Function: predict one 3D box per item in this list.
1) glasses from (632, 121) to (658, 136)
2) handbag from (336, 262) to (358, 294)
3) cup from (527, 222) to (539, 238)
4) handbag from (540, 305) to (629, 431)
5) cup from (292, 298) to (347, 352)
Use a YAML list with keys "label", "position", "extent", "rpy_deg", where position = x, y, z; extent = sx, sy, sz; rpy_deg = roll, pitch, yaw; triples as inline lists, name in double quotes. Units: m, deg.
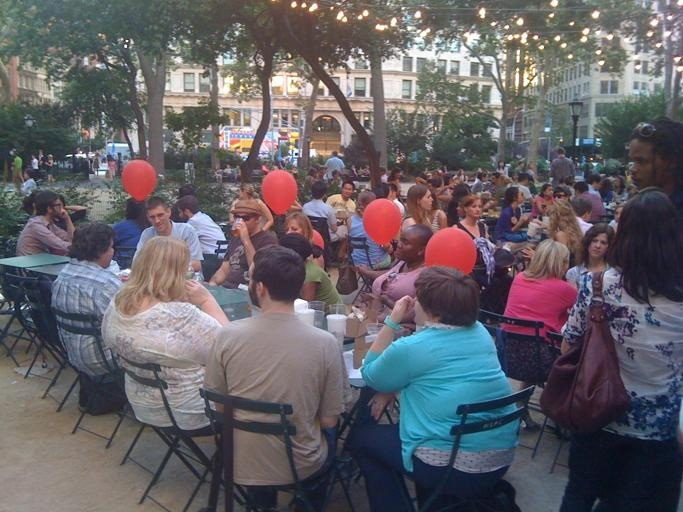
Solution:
- label: "glasses"
  position: [1.787, -0.734, 3.745]
  extent: [0.093, 0.039, 0.099]
  rpy_deg: [14, -19, 47]
- label: "handbag"
  position: [0.074, 0.283, 7.908]
  extent: [0.206, 0.446, 0.407]
  rpy_deg: [3, 10, 19]
- label: "cup"
  position: [2.760, -0.408, 9.289]
  extent: [0.153, 0.307, 0.225]
  rpy_deg: [7, 14, 23]
- label: "handbag"
  position: [1.343, 0.651, 3.536]
  extent: [0.457, 0.746, 0.209]
  rpy_deg: [5, 8, 26]
- label: "cup"
  position: [-0.174, 0.489, 4.638]
  extent: [0.353, 0.289, 0.290]
  rpy_deg: [4, 9, 42]
